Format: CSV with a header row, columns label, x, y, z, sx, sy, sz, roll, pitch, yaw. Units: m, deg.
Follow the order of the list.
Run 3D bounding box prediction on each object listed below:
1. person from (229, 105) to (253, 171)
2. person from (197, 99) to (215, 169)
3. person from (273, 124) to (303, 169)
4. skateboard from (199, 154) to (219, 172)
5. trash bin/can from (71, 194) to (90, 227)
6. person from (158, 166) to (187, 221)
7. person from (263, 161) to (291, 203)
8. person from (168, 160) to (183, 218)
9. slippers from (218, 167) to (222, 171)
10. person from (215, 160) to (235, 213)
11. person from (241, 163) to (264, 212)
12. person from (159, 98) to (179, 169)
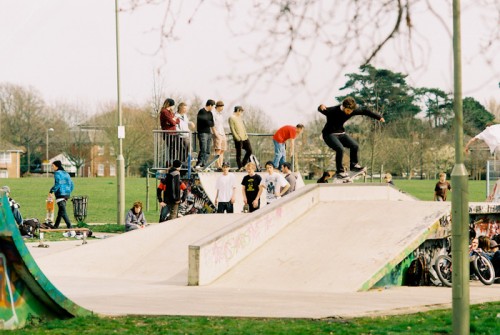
label,x,y,z,sx,sy,sz,roll,pitch,yaw
person,-0.200,-1.246,39.843,1.077,3.512,1.211,1,0,-3
person,-1.696,-1.308,38.596,0.710,2.455,1.197,-2,0,-4
person,1.488,-0.848,39.704,1.147,1.817,0.777,1,16,-15
skateboard,-1.560,-0.067,39.769,0.312,0.219,1.277,18,53,44
trash bin/can,-6.862,1.765,40.587,0.901,1.601,1.057,-1,-6,4
person,-2.834,0.934,37.418,0.881,2.342,0.917,-1,-2,-19
person,0.850,0.520,36.497,1.103,1.515,0.502,2,13,18
person,-2.800,0.815,37.316,0.482,2.051,0.855,-2,0,-2
slippers,-1.184,0.068,40.188,0.156,0.120,0.167,1,-3,-15
person,-0.887,0.764,36.885,0.769,1.776,0.827,-2,0,-3
person,0.075,1.035,36.385,0.791,2.432,0.563,5,13,24
person,-2.973,-1.445,38.880,1.064,3.825,1.025,0,0,-12
